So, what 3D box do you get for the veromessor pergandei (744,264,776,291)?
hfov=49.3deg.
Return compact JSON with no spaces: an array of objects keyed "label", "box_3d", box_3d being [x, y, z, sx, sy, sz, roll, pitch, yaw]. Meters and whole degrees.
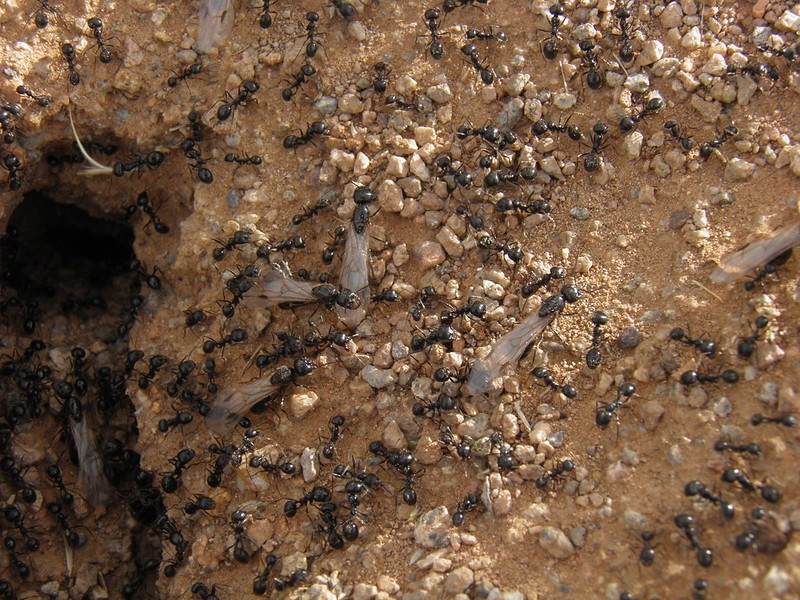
[{"label":"veromessor pergandei","box_3d":[4.056,-0.245,9.804,0.364,0.190,0.122,-31,66,-17]}]
